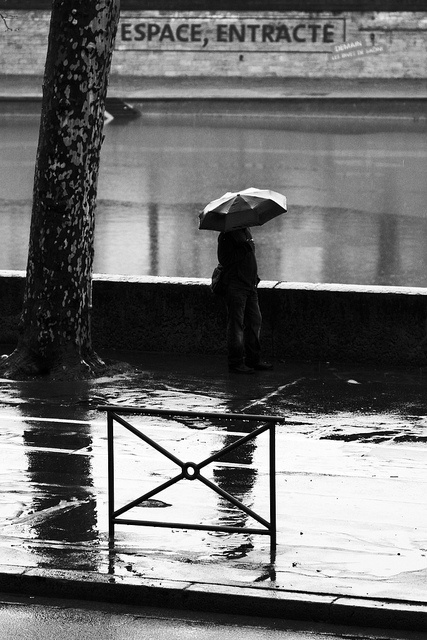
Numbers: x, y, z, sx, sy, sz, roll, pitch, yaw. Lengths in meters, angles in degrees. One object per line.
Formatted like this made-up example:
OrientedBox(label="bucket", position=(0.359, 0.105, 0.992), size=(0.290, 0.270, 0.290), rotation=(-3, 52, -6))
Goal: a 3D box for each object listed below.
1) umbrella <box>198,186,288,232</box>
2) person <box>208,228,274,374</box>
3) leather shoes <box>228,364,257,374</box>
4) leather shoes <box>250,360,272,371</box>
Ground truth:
OrientedBox(label="umbrella", position=(0.257, -0.930, 15.223), size=(0.777, 0.325, 0.584), rotation=(-2, 9, -17))
OrientedBox(label="person", position=(0.220, -0.185, 15.511), size=(0.367, 1.304, 0.632), rotation=(4, 8, 27))
OrientedBox(label="leather shoes", position=(0.252, 0.406, 15.614), size=(0.190, 0.114, 0.090), rotation=(1, 1, 3))
OrientedBox(label="leather shoes", position=(0.439, 0.404, 15.808), size=(0.197, 0.117, 0.081), rotation=(-2, 17, -2))
